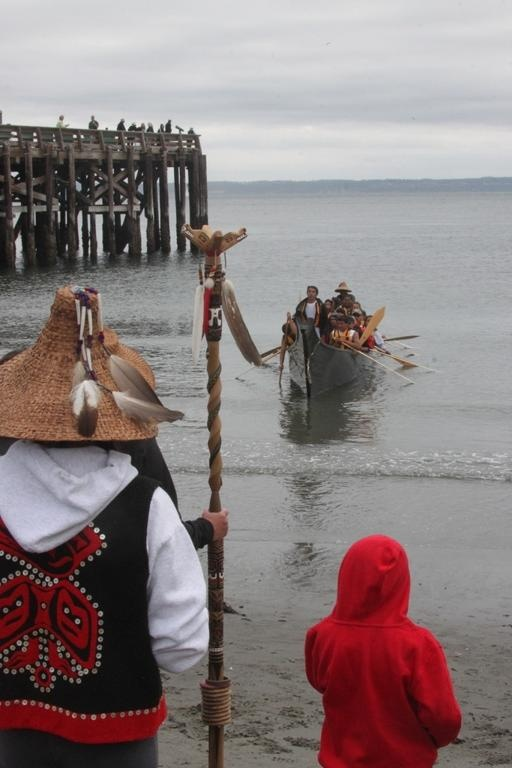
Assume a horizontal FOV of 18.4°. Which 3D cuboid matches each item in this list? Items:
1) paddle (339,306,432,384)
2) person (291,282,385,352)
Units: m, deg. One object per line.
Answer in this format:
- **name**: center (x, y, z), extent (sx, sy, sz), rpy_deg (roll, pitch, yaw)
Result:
- **paddle**: center (1.653, -0.412, 21.073), extent (0.100, 0.605, 2.131), rpy_deg (-7, -22, 31)
- **person**: center (1.099, -0.801, 19.769), extent (0.847, 0.400, 1.087), rpy_deg (5, 14, 7)
